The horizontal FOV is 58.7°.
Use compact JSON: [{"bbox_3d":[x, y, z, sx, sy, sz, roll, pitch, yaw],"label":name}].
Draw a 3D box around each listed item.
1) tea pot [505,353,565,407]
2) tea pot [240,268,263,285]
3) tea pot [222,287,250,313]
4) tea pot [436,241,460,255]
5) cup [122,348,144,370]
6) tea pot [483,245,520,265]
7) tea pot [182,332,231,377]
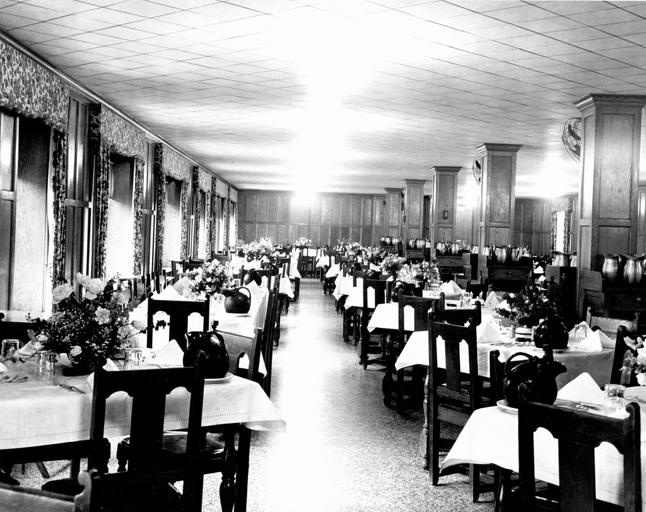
[{"bbox_3d":[0.918,0.526,2.486,0.283,0.225,0.101,2,0,-18],"label":"tea pot"},{"bbox_3d":[-1.078,0.302,8.532,0.296,0.315,0.232,4,3,42],"label":"tea pot"},{"bbox_3d":[-0.813,0.414,5.482,0.252,0.253,0.198,2,-7,-22],"label":"tea pot"},{"bbox_3d":[2.907,-0.193,13.332,0.392,0.203,0.297,-2,-3,34],"label":"tea pot"},{"bbox_3d":[-0.962,0.521,2.913,0.109,0.136,0.112,2,-4,0],"label":"cup"},{"bbox_3d":[3.029,-0.026,9.689,0.438,0.211,0.296,0,-4,34],"label":"tea pot"},{"bbox_3d":[-0.587,0.489,2.837,0.185,0.232,0.188,2,0,0],"label":"tea pot"}]
